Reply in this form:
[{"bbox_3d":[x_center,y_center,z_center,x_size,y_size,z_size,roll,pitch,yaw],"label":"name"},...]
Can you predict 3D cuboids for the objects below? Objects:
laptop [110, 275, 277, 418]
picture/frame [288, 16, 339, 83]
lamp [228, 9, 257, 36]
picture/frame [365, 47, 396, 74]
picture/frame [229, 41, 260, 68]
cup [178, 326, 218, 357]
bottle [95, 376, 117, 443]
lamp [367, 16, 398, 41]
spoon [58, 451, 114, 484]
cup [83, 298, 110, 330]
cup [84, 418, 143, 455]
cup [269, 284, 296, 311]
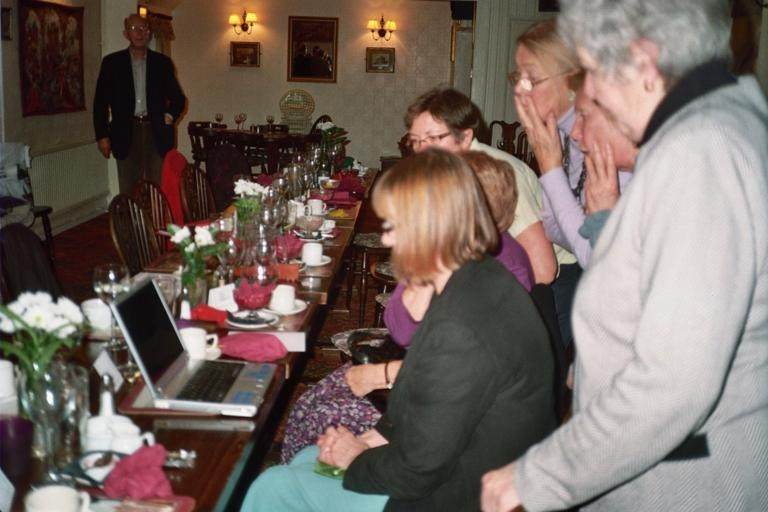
[{"bbox_3d":[-0.524,0.256,1.737,0.386,0.279,0.398,0,12,1],"label":"laptop"},{"bbox_3d":[-1.284,-3.745,10.745,0.916,1.155,0.047,3,5,1],"label":"picture/frame"},{"bbox_3d":[-2.477,-4.219,10.799,0.620,0.601,0.346,0,20,0],"label":"lamp"},{"bbox_3d":[-0.068,-3.596,10.769,0.396,0.344,0.044,0,19,-2],"label":"picture/frame"},{"bbox_3d":[-2.527,-3.710,10.813,0.420,0.382,0.047,1,12,-5],"label":"picture/frame"},{"bbox_3d":[-0.575,0.288,1.892,0.108,0.082,0.070,-2,-3,26],"label":"cup"},{"bbox_3d":[-0.701,0.390,1.500,0.062,0.166,0.061,1,-3,0],"label":"bottle"},{"bbox_3d":[-0.051,-4.118,10.632,0.393,0.386,0.119,0,22,1],"label":"lamp"},{"bbox_3d":[-0.660,0.476,1.339,0.065,0.023,0.067,6,14,24],"label":"spoon"},{"bbox_3d":[-1.007,0.198,2.098,0.108,0.084,0.110,3,18,-1],"label":"cup"},{"bbox_3d":[-0.659,0.435,1.430,0.108,0.080,0.066,7,12,-31],"label":"cup"},{"bbox_3d":[-0.384,0.163,2.271,0.092,0.096,0.094,7,16,-2],"label":"cup"}]
